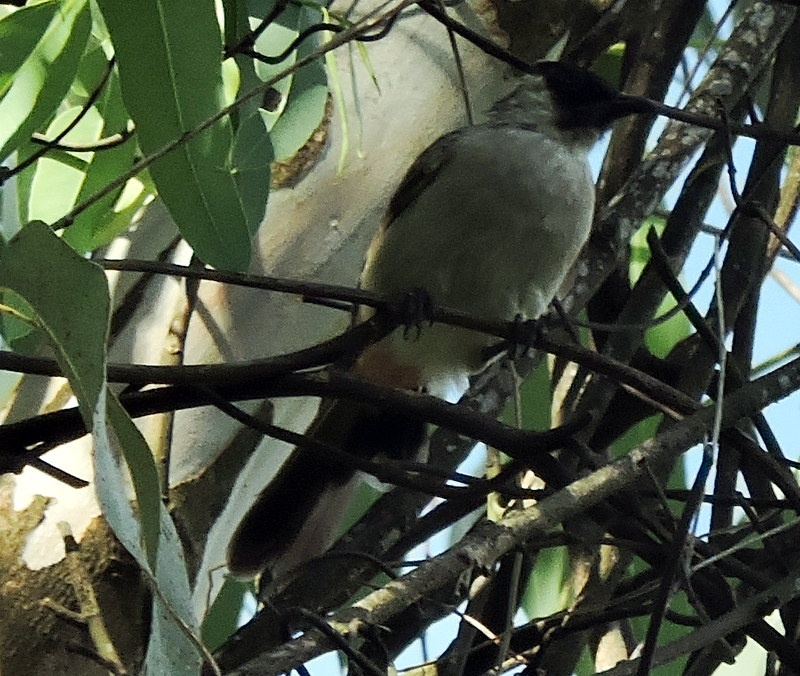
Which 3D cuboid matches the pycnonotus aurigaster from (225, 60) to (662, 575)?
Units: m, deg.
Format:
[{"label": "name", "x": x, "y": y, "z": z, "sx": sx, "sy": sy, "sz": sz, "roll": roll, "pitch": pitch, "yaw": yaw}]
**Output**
[{"label": "pycnonotus aurigaster", "x": 0.045, "y": -0.013, "z": 2.242, "sx": 0.572, "sy": 0.253, "sz": 0.186, "roll": -47, "pitch": -59, "yaw": -2}]
